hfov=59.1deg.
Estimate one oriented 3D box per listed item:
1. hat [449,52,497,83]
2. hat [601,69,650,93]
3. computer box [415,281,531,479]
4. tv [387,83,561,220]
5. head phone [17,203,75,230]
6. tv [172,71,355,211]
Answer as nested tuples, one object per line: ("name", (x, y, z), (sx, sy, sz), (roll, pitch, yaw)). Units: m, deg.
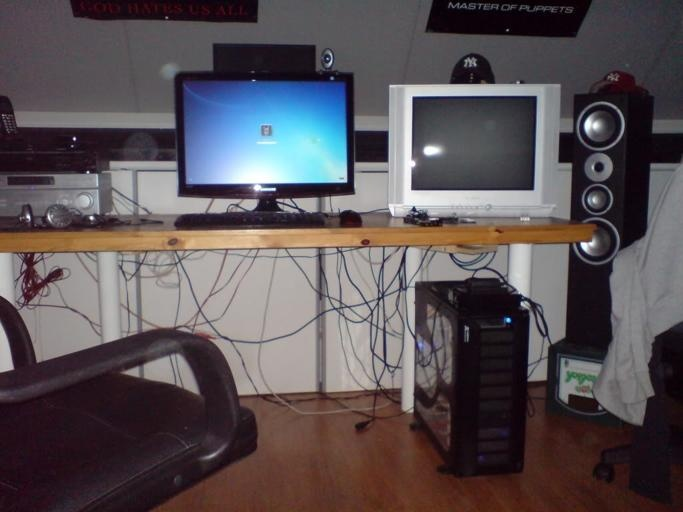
("hat", (0.610, -0.867, 2.771), (0.184, 0.167, 0.200), (9, 13, 42))
("hat", (1.267, -0.797, 2.760), (0.234, 0.079, 0.165), (17, 25, 38))
("computer box", (0.546, 0.472, 2.403), (0.455, 0.792, 0.758), (0, 5, -4))
("tv", (0.558, -0.447, 2.736), (0.844, 0.688, 0.510), (0, 7, -2))
("head phone", (-1.133, -0.151, 2.302), (0.163, 0.080, 0.113), (1, 9, -5))
("tv", (-0.327, -0.512, 2.553), (0.616, 0.500, 0.133), (0, 2, -4))
